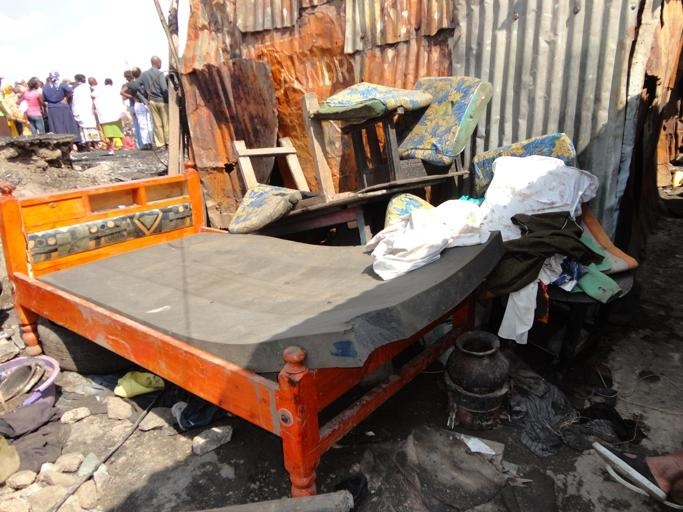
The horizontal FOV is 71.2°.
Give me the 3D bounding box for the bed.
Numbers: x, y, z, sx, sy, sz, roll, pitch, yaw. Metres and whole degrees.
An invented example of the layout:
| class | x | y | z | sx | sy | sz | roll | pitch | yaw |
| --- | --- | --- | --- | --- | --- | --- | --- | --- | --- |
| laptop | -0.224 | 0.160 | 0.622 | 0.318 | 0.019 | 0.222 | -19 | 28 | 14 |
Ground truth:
| class | x | y | z | sx | sy | sz | roll | pitch | yaw |
| --- | --- | --- | --- | --- | --- | --- | --- | --- | --- |
| bed | -1.299 | 0.679 | 4.812 | 4.268 | 2.247 | 2.549 | 17 | 25 | 35 |
